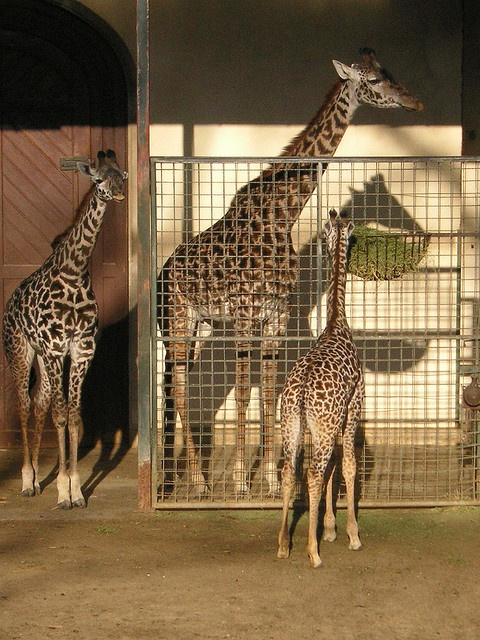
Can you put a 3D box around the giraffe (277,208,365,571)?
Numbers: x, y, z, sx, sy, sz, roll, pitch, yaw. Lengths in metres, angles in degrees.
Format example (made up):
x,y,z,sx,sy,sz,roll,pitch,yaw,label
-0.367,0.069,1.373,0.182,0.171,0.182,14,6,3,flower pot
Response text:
x,y,z,sx,sy,sz,roll,pitch,yaw,label
0.455,0.379,7.844,0.449,1.742,1.088,1,14,5,giraffe
